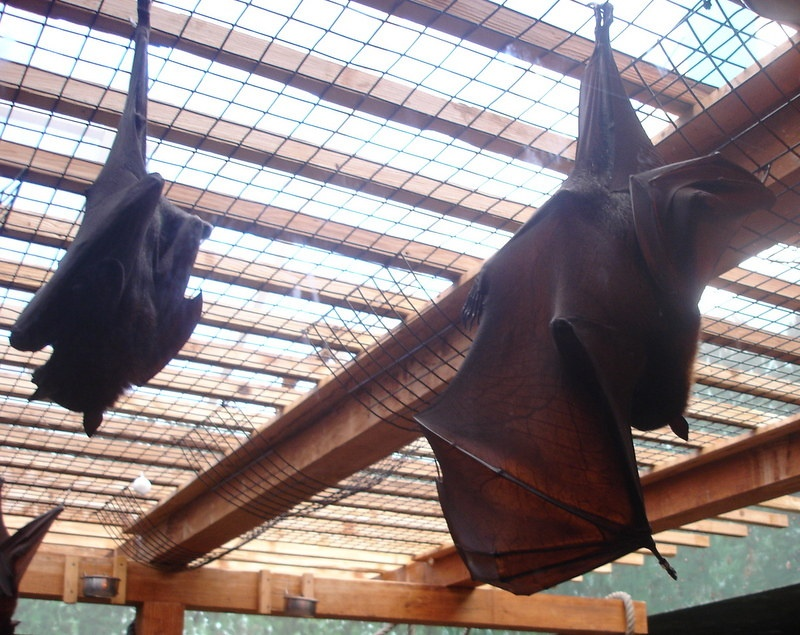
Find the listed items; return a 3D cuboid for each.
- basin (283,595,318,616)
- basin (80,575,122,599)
[{"bbox_3d":[-1.203,3.432,9.373,0.343,0.151,0.310,-21,-46,25],"label":"basin"},{"bbox_3d":[-3.303,2.962,8.602,0.399,0.173,0.412,0,-29,0],"label":"basin"}]
